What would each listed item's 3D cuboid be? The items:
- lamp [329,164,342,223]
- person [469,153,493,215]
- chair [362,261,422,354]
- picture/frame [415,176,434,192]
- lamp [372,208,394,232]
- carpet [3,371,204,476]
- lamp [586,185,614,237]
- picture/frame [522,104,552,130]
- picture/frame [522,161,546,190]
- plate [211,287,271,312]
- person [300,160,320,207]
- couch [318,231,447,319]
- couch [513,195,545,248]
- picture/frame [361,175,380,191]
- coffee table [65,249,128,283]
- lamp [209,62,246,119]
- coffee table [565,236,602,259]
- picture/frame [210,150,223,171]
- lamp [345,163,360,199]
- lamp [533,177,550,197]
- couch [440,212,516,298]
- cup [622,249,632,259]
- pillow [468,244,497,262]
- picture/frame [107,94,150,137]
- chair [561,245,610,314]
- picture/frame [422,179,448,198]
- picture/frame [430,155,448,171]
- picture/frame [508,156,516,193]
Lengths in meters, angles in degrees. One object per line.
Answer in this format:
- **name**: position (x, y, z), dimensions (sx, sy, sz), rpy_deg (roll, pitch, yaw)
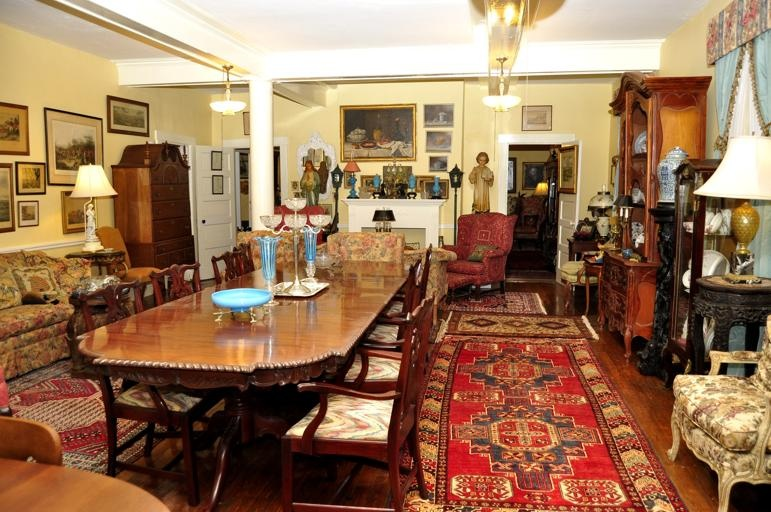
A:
- **lamp**: position (-0.960, -1.185, 10.263), dimensions (0.254, 1.164, 0.420), rpy_deg (-2, 12, -5)
- **person**: position (1.856, -1.425, 10.080), dimensions (0.419, 1.152, 0.396), rpy_deg (6, 14, 26)
- **chair**: position (0.039, 0.666, 4.363), dimensions (0.352, 0.658, 0.359), rpy_deg (14, 36, 6)
- **picture/frame**: position (0.768, -1.422, 10.167), dimensions (0.340, 0.289, 0.027), rpy_deg (0, 4, 5)
- **lamp**: position (-0.034, -0.641, 9.537), dimensions (0.410, 0.461, 0.393), rpy_deg (-5, 14, -19)
- **carpet**: position (-2.755, 1.370, 4.511), dimensions (1.200, 0.080, 1.359), rpy_deg (5, 8, 7)
- **lamp**: position (3.603, -0.731, 8.575), dimensions (0.540, 0.855, 0.529), rpy_deg (-2, 5, -9)
- **picture/frame**: position (2.912, -2.671, 9.912), dimensions (0.478, 0.402, 0.019), rpy_deg (-1, 3, 1)
- **picture/frame**: position (4.204, -2.301, 14.643), dimensions (0.884, 1.002, 0.098), rpy_deg (-1, 5, 2)
- **plate**: position (-1.007, 0.303, 3.624), dimensions (0.243, 0.071, 0.245), rpy_deg (1, 7, 7)
- **person**: position (-1.486, -1.392, 10.004), dimensions (0.368, 0.819, 0.270), rpy_deg (1, 12, 8)
- **couch**: position (0.003, 0.452, 6.485), dimensions (1.857, 0.980, 0.903), rpy_deg (2, 13, 10)
- **couch**: position (3.842, -0.871, 13.802), dimensions (0.915, 1.335, 0.999), rpy_deg (11, 18, 42)
- **picture/frame**: position (-0.292, -1.441, 10.203), dimensions (0.346, 0.297, 0.036), rpy_deg (-1, -3, 17)
- **coffee table**: position (-3.918, 0.071, 7.111), dimensions (0.658, 0.662, 0.589), rpy_deg (-1, 5, -16)
- **lamp**: position (-2.045, -2.168, 6.709), dimensions (0.407, 0.551, 0.404), rpy_deg (3, 19, -3)
- **coffee table**: position (3.369, -0.128, 8.826), dimensions (0.526, 0.492, 0.402), rpy_deg (0, 2, 5)
- **picture/frame**: position (-3.168, -1.780, 9.641), dimensions (0.048, 0.340, 0.388), rpy_deg (4, 10, 40)
- **lamp**: position (-0.660, -1.491, 10.105), dimensions (0.313, 0.713, 0.590), rpy_deg (-1, 12, -3)
- **lamp**: position (4.274, -1.889, 14.238), dimensions (0.518, 0.445, 0.523), rpy_deg (2, 12, 16)
- **couch**: position (1.501, -0.041, 8.617), dimensions (1.047, 1.281, 1.035), rpy_deg (-9, 11, -43)
- **cup**: position (2.765, -0.022, 5.948), dimensions (0.111, 0.092, 0.105), rpy_deg (0, 2, 0)
- **pillow**: position (1.597, -0.020, 8.420), dimensions (0.395, 0.239, 0.545), rpy_deg (-4, 12, -16)
- **picture/frame**: position (-4.113, -2.217, 8.275), dimensions (0.803, 0.555, 0.024), rpy_deg (12, 15, 15)
- **chair**: position (3.038, 0.375, 7.892), dimensions (0.604, 0.647, 0.576), rpy_deg (1, -6, -16)
- **picture/frame**: position (0.960, -1.273, 10.007), dimensions (0.520, 0.383, 0.439), rpy_deg (1, 12, 5)
- **picture/frame**: position (1.042, -1.817, 10.083), dimensions (0.291, 0.248, 0.022), rpy_deg (0, 5, 0)
- **picture/frame**: position (3.623, -2.298, 14.812), dimensions (0.215, 0.999, 0.115), rpy_deg (-2, 12, -6)
